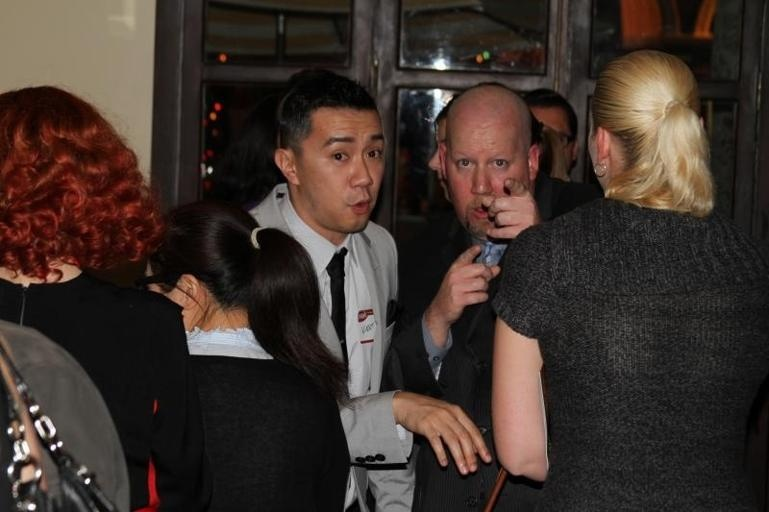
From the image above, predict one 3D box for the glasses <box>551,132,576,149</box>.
[{"bbox_3d":[0.815,-0.540,3.666,0.087,0.067,0.113,-3,29,-24],"label":"glasses"}]
